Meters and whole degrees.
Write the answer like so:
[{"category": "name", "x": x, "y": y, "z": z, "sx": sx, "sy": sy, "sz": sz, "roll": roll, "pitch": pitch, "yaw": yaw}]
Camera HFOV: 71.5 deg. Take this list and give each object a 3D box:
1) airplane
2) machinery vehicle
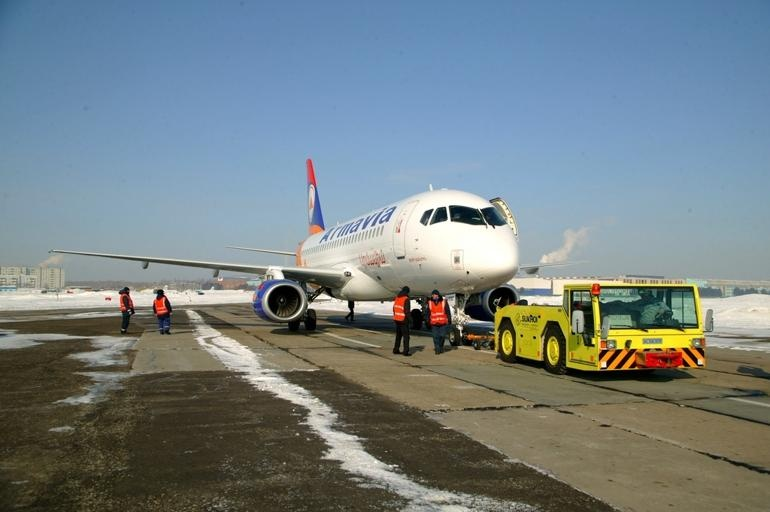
[{"category": "airplane", "x": -1.229, "y": 0.476, "z": 23.248, "sx": 9.366, "sy": 6.061, "sz": 15.175, "roll": 2, "pitch": -3, "yaw": -20}, {"category": "machinery vehicle", "x": 4.977, "y": 1.749, "z": 13.796, "sx": 2.920, "sy": 1.446, "sz": 4.289, "roll": 1, "pitch": -5, "yaw": -20}]
